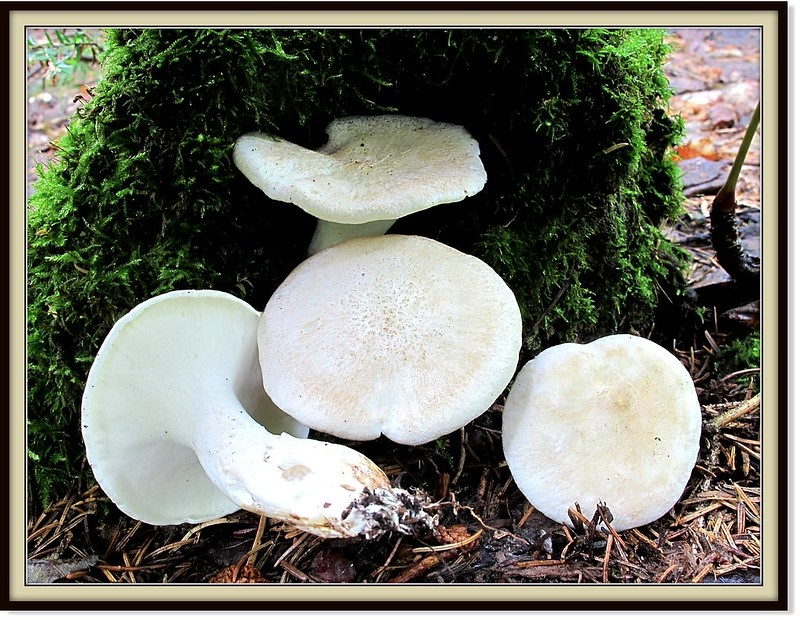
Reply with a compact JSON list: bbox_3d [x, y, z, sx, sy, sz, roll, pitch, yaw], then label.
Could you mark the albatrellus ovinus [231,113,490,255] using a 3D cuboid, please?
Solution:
[{"bbox_3d":[-0.150,-0.599,3.278,0.972,0.170,0.622,-16,46,-13],"label":"albatrellus ovinus"}]
